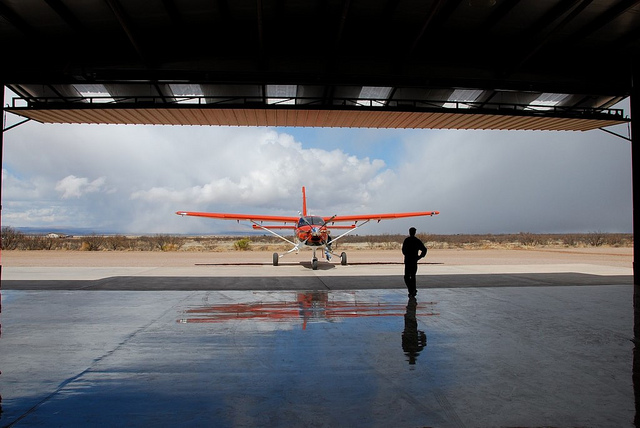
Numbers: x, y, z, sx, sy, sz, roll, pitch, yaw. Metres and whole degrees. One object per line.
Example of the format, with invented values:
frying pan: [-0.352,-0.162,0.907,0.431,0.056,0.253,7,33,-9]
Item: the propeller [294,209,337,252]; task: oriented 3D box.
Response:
propeller: [-0.337,1.037,21.802,1.735,1.779,2.581,0,4,-1]
